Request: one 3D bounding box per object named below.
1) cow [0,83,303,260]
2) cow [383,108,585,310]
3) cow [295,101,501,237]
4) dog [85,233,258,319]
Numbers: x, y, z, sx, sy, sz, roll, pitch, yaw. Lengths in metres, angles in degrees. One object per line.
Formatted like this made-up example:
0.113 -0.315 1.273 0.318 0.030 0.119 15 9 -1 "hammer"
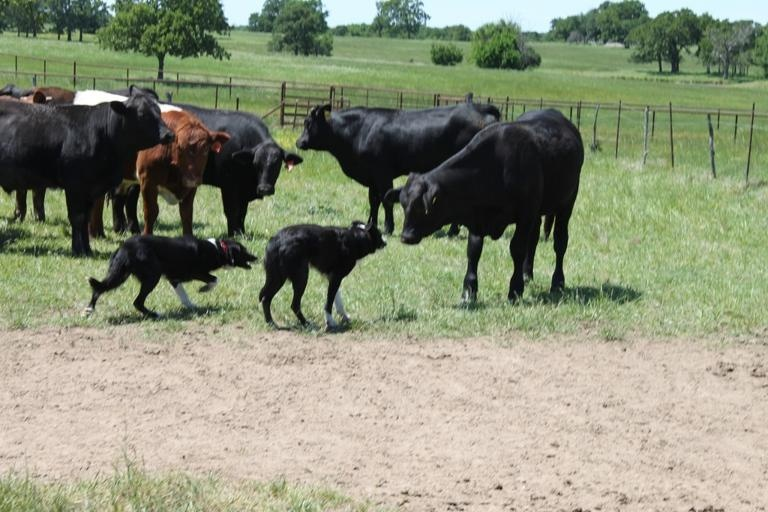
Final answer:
-3.529 -1.841 21.262 3.195 2.877 2.215 -6 13 -36 "cow"
2.130 -0.753 18.750 4.316 3.322 1.374 -12 19 -40 "cow"
0.300 -1.661 21.033 2.893 1.838 0.916 2 10 25 "cow"
-3.340 0.236 17.203 2.965 1.495 1.014 -6 15 -29 "dog"
